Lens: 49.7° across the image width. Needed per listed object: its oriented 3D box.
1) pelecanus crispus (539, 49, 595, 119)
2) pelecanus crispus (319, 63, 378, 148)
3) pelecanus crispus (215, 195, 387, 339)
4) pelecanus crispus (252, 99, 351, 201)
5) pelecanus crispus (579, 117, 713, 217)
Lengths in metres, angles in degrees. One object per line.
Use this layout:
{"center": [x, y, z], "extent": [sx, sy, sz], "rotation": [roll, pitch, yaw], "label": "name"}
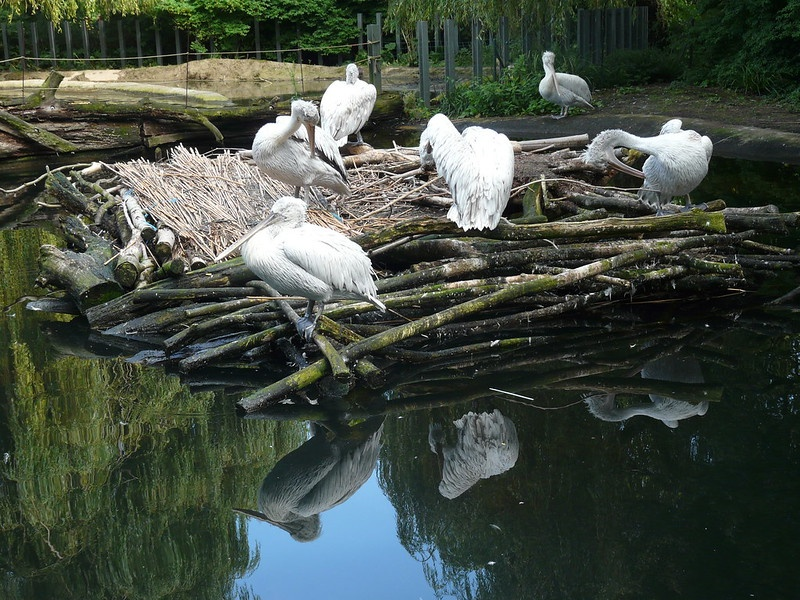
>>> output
{"center": [3.097, -3.936, 15.982], "extent": [0.635, 1.192, 1.090], "rotation": [10, 19, 32], "label": "pelecanus crispus"}
{"center": [-0.634, -2.496, 10.972], "extent": [0.684, 0.849, 1.304], "rotation": [11, 44, 7], "label": "pelecanus crispus"}
{"center": [-0.711, -0.323, 6.820], "extent": [1.758, 1.170, 0.762], "rotation": [3, 8, 3], "label": "pelecanus crispus"}
{"center": [-0.974, -1.494, 8.655], "extent": [0.945, 0.967, 0.556], "rotation": [-6, 17, -17], "label": "pelecanus crispus"}
{"center": [2.523, -1.289, 8.489], "extent": [1.442, 0.858, 0.628], "rotation": [-15, 11, -24], "label": "pelecanus crispus"}
